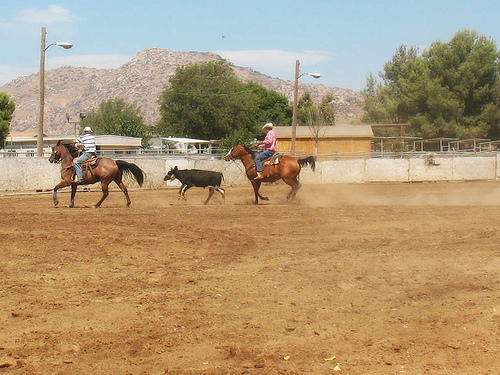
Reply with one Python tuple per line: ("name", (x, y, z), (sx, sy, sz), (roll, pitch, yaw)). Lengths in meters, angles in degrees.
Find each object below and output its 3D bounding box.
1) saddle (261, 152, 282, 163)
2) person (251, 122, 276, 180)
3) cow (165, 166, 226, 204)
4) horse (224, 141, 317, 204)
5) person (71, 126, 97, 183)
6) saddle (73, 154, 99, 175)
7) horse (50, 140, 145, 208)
("saddle", (0.751, -1.057, 25.149), (0.724, 0.344, 0.222), (0, 1, -40))
("person", (0.607, -1.318, 25.331), (0.911, 2.106, 0.940), (-7, -13, 35))
("cow", (-1.982, -0.072, 25.412), (2.162, 1.328, 0.625), (2, 1, -1))
("horse", (0.745, -0.529, 25.391), (3.314, 2.249, 0.892), (-1, 6, 10))
("person", (-5.563, -1.102, 23.416), (0.728, 1.887, 1.323), (0, 1, -13))
("saddle", (-5.316, -0.764, 23.288), (0.623, 0.691, 0.226), (-1, 1, -45))
("horse", (-5.221, -0.406, 23.590), (3.403, 2.170, 0.814), (1, -1, 5))
